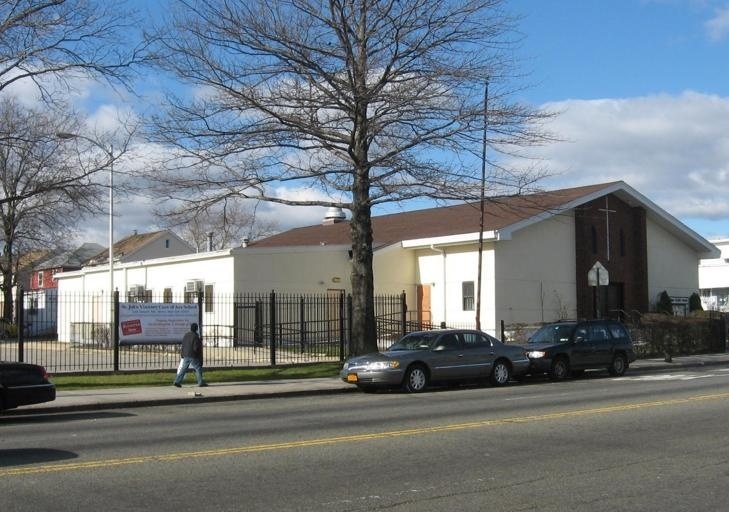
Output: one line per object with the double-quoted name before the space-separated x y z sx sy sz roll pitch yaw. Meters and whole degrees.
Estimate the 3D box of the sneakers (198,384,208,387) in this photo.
"sneakers" -4.952 3.952 26.827 0.302 0.117 0.099 1 -2 -25

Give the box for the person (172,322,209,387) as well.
"person" -5.353 3.037 26.803 0.935 1.919 1.253 0 -7 -16
